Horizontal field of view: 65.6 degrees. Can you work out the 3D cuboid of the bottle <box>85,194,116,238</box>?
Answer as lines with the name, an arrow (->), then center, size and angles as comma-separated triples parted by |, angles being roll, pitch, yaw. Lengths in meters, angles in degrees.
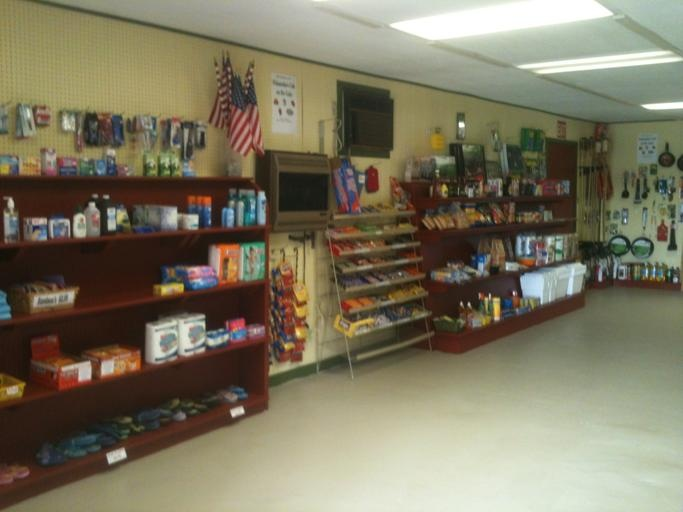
bottle -> -1.942, -0.322, 4.244 | 0.235, 0.319, 0.197 | -8, 11, -40

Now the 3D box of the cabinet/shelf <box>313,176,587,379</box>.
cabinet/shelf -> 1.684, 0.089, 7.374 | 4.501, 2.225, 0.845 | -8, 11, -39

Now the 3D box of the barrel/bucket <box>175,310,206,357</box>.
barrel/bucket -> -1.357, 0.703, 4.764 | 0.173, 0.330, 0.230 | 6, 10, 40

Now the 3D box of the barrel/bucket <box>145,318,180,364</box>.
barrel/bucket -> -1.574, 0.755, 4.619 | 0.162, 0.334, 0.276 | 5, 6, 30

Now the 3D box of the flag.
flag -> -1.024, -1.497, 5.225 | 0.454, 1.009, 0.520 | 3, 9, 19
